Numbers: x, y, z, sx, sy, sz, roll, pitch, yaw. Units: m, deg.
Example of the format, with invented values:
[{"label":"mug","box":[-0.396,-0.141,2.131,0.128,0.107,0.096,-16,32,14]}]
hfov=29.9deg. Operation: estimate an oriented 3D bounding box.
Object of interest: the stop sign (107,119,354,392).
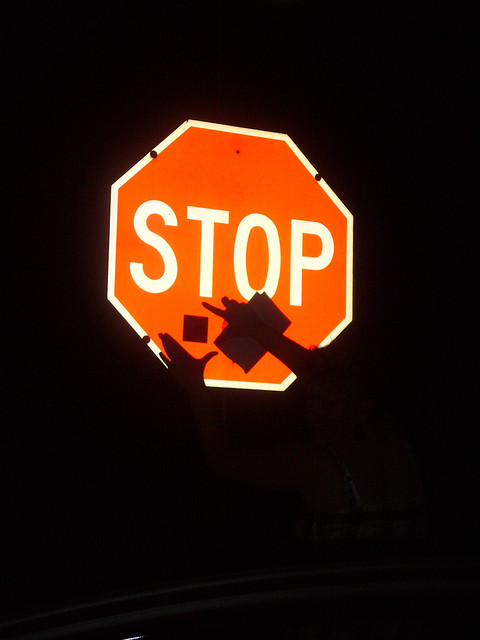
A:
[{"label":"stop sign","box":[-0.049,-0.146,2.268,0.606,0.665,0.022,3,-11,-29]}]
